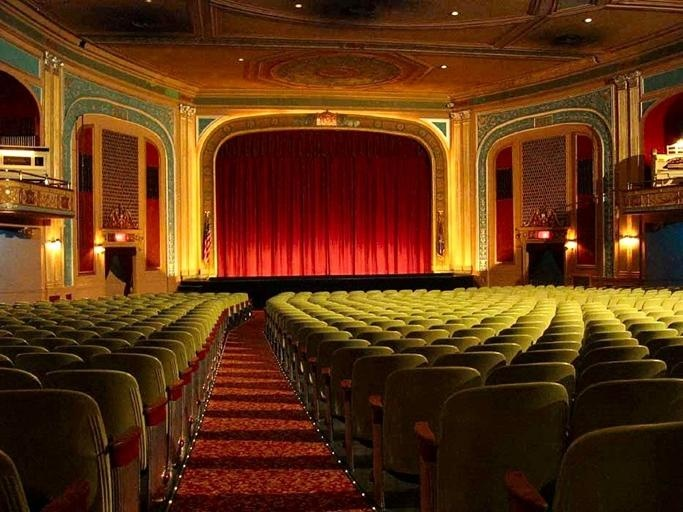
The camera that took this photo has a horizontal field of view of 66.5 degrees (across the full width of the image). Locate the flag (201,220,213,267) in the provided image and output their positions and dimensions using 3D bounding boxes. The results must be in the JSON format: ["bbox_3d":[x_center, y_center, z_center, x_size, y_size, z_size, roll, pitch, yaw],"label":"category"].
[{"bbox_3d":[-5.109,-0.633,19.801,0.466,2.006,0.922,-3,4,-14],"label":"flag"}]

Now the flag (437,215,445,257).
[{"bbox_3d":[4.014,-0.888,21.082,0.351,1.703,0.353,0,4,21],"label":"flag"}]
